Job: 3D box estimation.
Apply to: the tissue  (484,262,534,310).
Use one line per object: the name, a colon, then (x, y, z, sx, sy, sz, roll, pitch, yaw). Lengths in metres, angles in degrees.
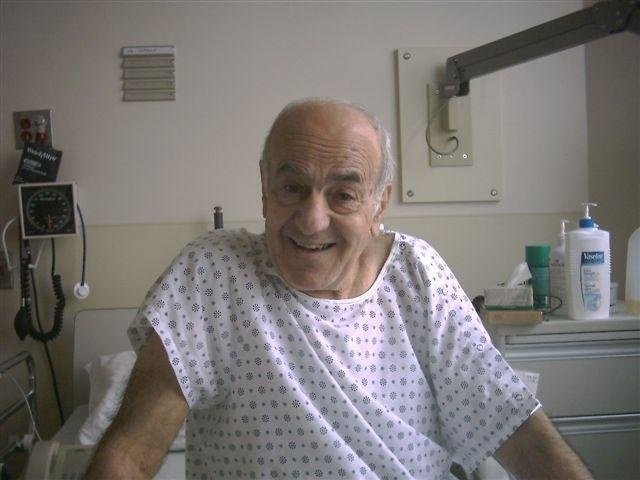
tissue : (0.823, 0.199, 2.720, 0.169, 0.207, 0.198, 0, -4, 2)
